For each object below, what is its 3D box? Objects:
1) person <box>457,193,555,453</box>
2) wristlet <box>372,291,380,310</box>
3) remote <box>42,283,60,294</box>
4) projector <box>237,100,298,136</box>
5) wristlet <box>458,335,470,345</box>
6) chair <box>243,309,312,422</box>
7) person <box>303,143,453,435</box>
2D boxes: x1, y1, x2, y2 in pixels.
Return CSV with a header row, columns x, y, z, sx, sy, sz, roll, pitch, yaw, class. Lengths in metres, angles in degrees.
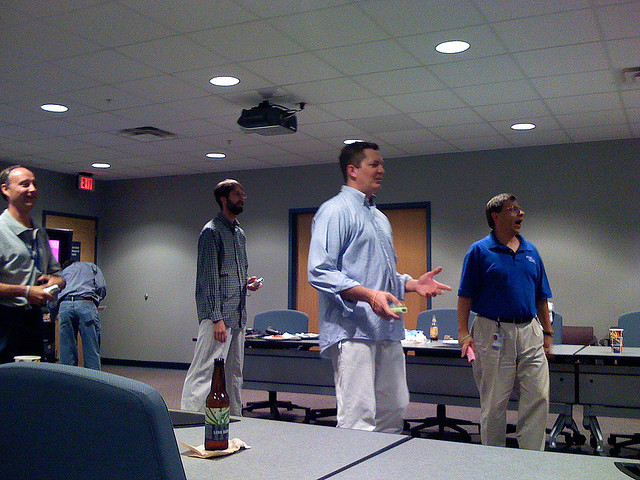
x,y,z,sx,sy,sz,roll,pitch,yaw,class
1.237,0.515,3.334,0.564,1.698,0.314,-1,-4,14,person
0.231,0.245,2.066,0.017,0.050,0.045,12,-11,2,wristlet
-1.354,0.246,2.487,0.046,0.049,0.140,1,-4,-8,remote
-0.585,-1.371,5.565,0.544,0.303,0.477,-2,-5,25,projector
1.009,0.699,3.439,0.079,0.065,0.071,-2,-5,32,wristlet
-0.439,1.302,5.238,0.789,1.089,0.688,4,-4,-13,chair
0.244,0.208,2.349,0.512,1.423,0.550,-2,-4,30,person
